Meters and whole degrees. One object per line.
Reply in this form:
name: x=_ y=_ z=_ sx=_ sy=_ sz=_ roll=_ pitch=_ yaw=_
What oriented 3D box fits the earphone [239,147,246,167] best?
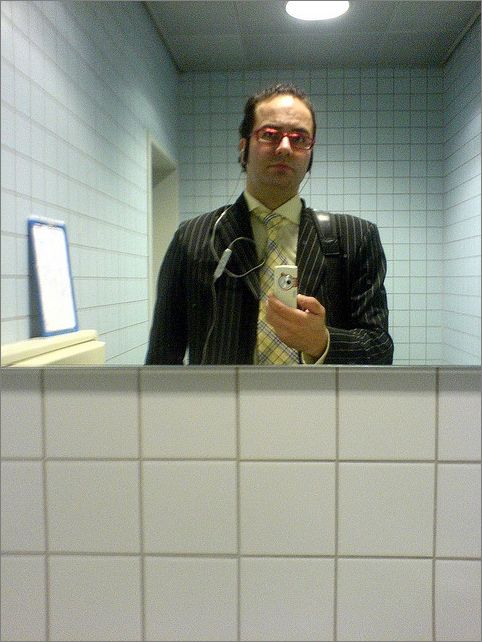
earphone: x=0.002 y=-0.242 z=0.916 sx=0.008 sy=0.020 sz=0.014 roll=-1 pitch=18 yaw=14

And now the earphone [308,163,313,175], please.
earphone: x=0.105 y=-0.228 z=0.910 sx=0.007 sy=0.012 sz=0.007 roll=4 pitch=7 yaw=20
